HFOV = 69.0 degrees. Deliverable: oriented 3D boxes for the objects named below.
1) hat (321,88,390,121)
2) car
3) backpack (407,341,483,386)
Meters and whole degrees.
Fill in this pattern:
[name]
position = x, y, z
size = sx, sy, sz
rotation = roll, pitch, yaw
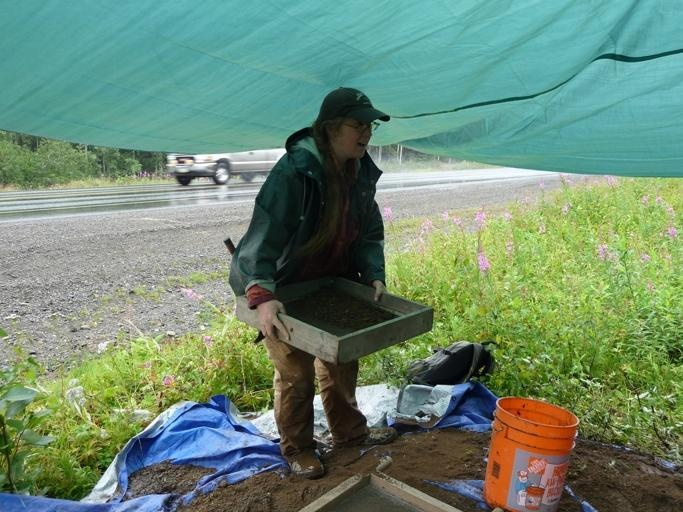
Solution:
[hat]
position = 0.078, -1.086, 3.581
size = 0.542, 0.236, 0.332
rotation = 8, 21, 31
[car]
position = -2.305, -2.105, 11.002
size = 1.001, 0.956, 2.988
rotation = 4, 12, 31
[backpack]
position = 0.973, 0.996, 4.651
size = 0.601, 0.198, 0.407
rotation = -17, 13, 5
